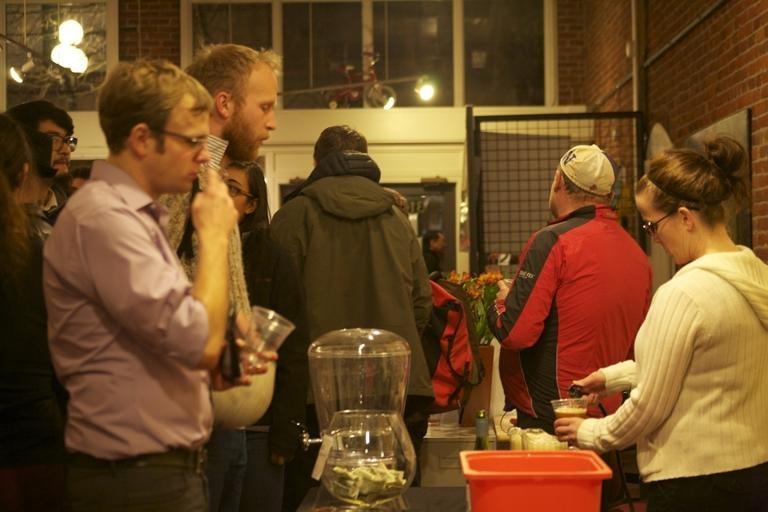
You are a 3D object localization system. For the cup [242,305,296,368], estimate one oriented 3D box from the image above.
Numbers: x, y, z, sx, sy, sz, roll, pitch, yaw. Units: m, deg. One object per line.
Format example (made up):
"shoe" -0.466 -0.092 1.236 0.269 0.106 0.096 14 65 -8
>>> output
"cup" -0.360 0.246 2.333 0.137 0.174 0.060 -1 1 -14

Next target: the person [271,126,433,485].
"person" -0.131 0.243 3.511 0.786 1.785 0.470 -1 1 -11

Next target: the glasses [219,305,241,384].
"glasses" -0.505 0.296 2.423 0.084 0.319 0.078 -5 44 -12

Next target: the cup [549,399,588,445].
"cup" 0.677 0.610 2.754 0.130 0.139 0.126 1 -7 0

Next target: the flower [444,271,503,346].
"flower" 0.506 0.358 4.411 0.283 0.389 0.344 -12 1 32

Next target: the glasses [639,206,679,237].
"glasses" 1.013 -0.118 2.738 0.113 0.036 0.109 -31 -5 1
